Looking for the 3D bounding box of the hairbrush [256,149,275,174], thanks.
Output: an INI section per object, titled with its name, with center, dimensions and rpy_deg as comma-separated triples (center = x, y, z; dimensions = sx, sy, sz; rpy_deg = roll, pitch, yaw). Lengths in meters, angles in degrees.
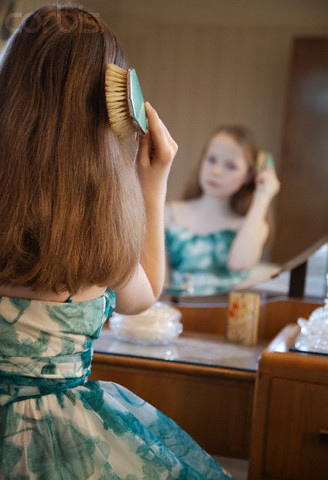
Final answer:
[hairbrush]
center = 0.253, -0.196, 1.175
dimensions = 0.048, 0.058, 0.010
rpy_deg = 4, 4, 1
